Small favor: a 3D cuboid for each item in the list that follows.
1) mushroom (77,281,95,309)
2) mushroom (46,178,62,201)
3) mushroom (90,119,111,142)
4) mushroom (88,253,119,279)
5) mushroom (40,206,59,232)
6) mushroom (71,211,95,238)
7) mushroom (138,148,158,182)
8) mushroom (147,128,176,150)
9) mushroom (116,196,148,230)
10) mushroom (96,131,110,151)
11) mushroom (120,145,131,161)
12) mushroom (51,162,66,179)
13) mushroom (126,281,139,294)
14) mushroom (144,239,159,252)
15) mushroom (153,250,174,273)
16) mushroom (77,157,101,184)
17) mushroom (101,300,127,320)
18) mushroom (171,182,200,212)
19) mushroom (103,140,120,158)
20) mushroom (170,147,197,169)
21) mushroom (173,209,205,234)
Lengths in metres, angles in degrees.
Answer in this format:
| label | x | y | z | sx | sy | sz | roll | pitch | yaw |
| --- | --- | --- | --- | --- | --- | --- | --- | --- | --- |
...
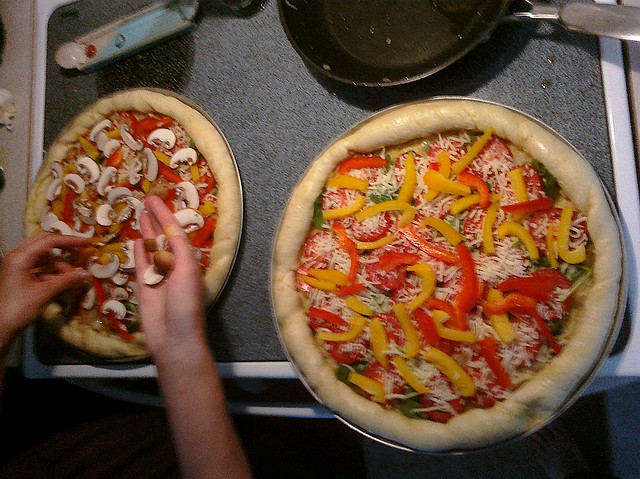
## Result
| label | x | y | z | sx | sy | sz | roll | pitch | yaw |
| --- | --- | --- | --- | --- | --- | --- | --- | --- | --- |
| mushroom | -1.451 | 0.344 | 3.853 | 0.125 | 0.046 | 0.168 | 17 | 99 | 23 |
| mushroom | -1.682 | -0.316 | 3.903 | 0.102 | 0.040 | 0.127 | 4 | 87 | 34 |
| mushroom | -1.355 | -0.669 | 3.870 | 0.038 | 0.120 | 0.116 | 43 | 65 | -20 |
| mushroom | -1.330 | 0.156 | 3.778 | 0.202 | 0.060 | 0.150 | 1 | 87 | -1 |
| mushroom | -1.712 | -0.132 | 3.916 | 0.117 | 0.034 | 0.146 | -16 | 81 | 10 |
| mushroom | -1.486 | -0.094 | 3.837 | 0.159 | 0.050 | 0.153 | -19 | 90 | 2 |
| mushroom | -1.052 | -0.461 | 3.782 | 0.141 | 0.056 | 0.185 | -7 | 93 | 44 |
| mushroom | -0.962 | -0.624 | 3.773 | 0.170 | 0.045 | 0.118 | 20 | 87 | 0 |
| mushroom | -1.125 | -0.189 | 3.765 | 0.190 | 0.054 | 0.195 | -36 | 81 | 20 |
| mushroom | -1.362 | -0.620 | 3.857 | 0.090 | 0.027 | 0.110 | 8 | 96 | 9 |
| mushroom | -1.213 | -0.544 | 3.831 | 0.075 | 0.026 | 0.071 | 1 | 90 | -1 |
| mushroom | -1.665 | -0.443 | 3.921 | 0.084 | 0.025 | 0.101 | -7 | 84 | 12 |
| mushroom | -1.147 | 0.291 | 3.758 | 0.089 | 0.075 | 0.077 | 1 | 87 | 0 |
| mushroom | -0.934 | 0.030 | 3.421 | 0.076 | 0.036 | 0.067 | -1 | 87 | -1 |
| mushroom | -0.843 | 0.117 | 3.340 | 0.116 | 0.061 | 0.118 | 2 | 87 | 0 |
| mushroom | -1.426 | -0.432 | 3.840 | 0.122 | 0.045 | 0.154 | -25 | 90 | 11 |
| mushroom | -1.262 | 0.417 | 3.772 | 0.153 | 0.033 | 0.107 | 20 | 87 | 0 |
| mushroom | -0.824 | -0.260 | 3.740 | 0.178 | 0.077 | 0.172 | -9 | 87 | -1 |
| mushroom | -1.295 | -0.563 | 3.828 | 0.103 | 0.029 | 0.082 | -42 | 117 | -5 |
| mushroom | -0.832 | -0.499 | 3.744 | 0.170 | 0.049 | 0.107 | -6 | 87 | -1 |
| mushroom | -0.775 | -0.126 | 3.697 | 0.131 | 0.034 | 0.155 | -29 | 87 | -2 |
